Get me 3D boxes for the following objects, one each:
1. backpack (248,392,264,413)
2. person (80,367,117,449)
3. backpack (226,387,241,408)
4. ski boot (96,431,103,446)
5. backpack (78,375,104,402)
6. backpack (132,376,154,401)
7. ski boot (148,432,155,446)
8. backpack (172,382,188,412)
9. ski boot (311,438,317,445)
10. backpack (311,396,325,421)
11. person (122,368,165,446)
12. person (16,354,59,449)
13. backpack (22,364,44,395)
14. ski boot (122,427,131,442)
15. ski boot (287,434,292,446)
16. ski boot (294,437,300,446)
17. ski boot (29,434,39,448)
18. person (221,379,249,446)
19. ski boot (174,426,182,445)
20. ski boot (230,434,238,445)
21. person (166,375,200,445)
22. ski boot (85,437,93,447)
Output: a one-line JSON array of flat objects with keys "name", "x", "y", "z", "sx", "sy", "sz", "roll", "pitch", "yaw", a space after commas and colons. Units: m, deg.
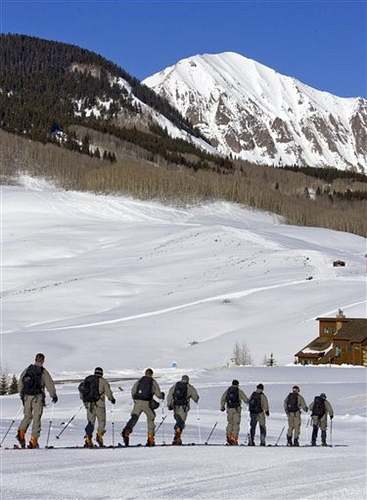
[{"name": "backpack", "x": 1.685, "y": 3.562, "z": 22.637, "sx": 0.350, "sy": 0.463, "sz": 0.261, "roll": -2, "pitch": 6, "yaw": 1}, {"name": "person", "x": -1.786, "y": 3.266, "z": 19.958, "sx": 0.623, "sy": 1.625, "sz": 0.824, "roll": -2, "pitch": 6, "yaw": -8}, {"name": "backpack", "x": 1.145, "y": 3.373, "z": 22.115, "sx": 0.370, "sy": 0.729, "sz": 0.350, "roll": -1, "pitch": -21, "yaw": 4}, {"name": "ski boot", "x": -1.726, "y": 3.862, "z": 19.889, "sx": 0.126, "sy": 0.296, "sz": 0.263, "roll": -2, "pitch": 6, "yaw": -7}, {"name": "backpack", "x": -1.910, "y": 2.854, "z": 20.002, "sx": 0.356, "sy": 0.655, "sz": 0.452, "roll": -7, "pitch": -13, "yaw": 42}, {"name": "backpack", "x": -0.849, "y": 2.903, "z": 20.357, "sx": 0.425, "sy": 0.495, "sz": 0.291, "roll": -2, "pitch": 6, "yaw": 0}, {"name": "ski boot", "x": -0.680, "y": 3.948, "z": 20.282, "sx": 0.127, "sy": 0.191, "sz": 0.459, "roll": -2, "pitch": 8, "yaw": -1}, {"name": "backpack", "x": -0.014, "y": 3.207, "z": 21.195, "sx": 0.369, "sy": 0.815, "sz": 0.377, "roll": 1, "pitch": -18, "yaw": 8}, {"name": "ski boot", "x": 3.202, "y": 4.679, "z": 23.750, "sx": 0.082, "sy": 0.213, "sz": 0.094, "roll": 0, "pitch": 2, "yaw": 12}, {"name": "backpack", "x": 3.278, "y": 3.856, "z": 23.641, "sx": 0.245, "sy": 0.545, "sz": 0.430, "roll": 1, "pitch": -4, "yaw": 12}, {"name": "person", "x": -0.856, "y": 3.315, "z": 20.329, "sx": 1.028, "sy": 1.688, "sz": 0.764, "roll": -4, "pitch": 6, "yaw": -25}, {"name": "person", "x": -2.985, "y": 3.012, "z": 19.510, "sx": 0.778, "sy": 1.959, "sz": 0.752, "roll": -2, "pitch": 5, "yaw": -12}, {"name": "backpack", "x": -3.061, "y": 2.659, "z": 19.574, "sx": 0.349, "sy": 0.682, "sz": 0.306, "roll": -4, "pitch": -17, "yaw": 28}, {"name": "ski boot", "x": -1.173, "y": 3.721, "z": 19.806, "sx": 0.078, "sy": 0.434, "sz": 0.137, "roll": 3, "pitch": -12, "yaw": 12}, {"name": "ski boot", "x": 2.530, "y": 4.541, "z": 23.087, "sx": 0.104, "sy": 0.231, "sz": 0.559, "roll": -1, "pitch": 8, "yaw": 6}, {"name": "ski boot", "x": 2.689, "y": 4.559, "z": 23.092, "sx": 0.105, "sy": 0.276, "sz": 0.123, "roll": -5, "pitch": -7, "yaw": 32}, {"name": "ski boot", "x": -3.014, "y": 3.853, "z": 19.502, "sx": 0.151, "sy": 0.146, "sz": 0.222, "roll": 16, "pitch": -12, "yaw": -19}, {"name": "person", "x": 1.171, "y": 3.805, "z": 22.182, "sx": 0.594, "sy": 1.844, "sz": 1.849, "roll": -1, "pitch": 7, "yaw": 3}, {"name": "ski boot", "x": -0.119, "y": 3.986, "z": 20.834, "sx": 0.154, "sy": 0.467, "sz": 0.227, "roll": 2, "pitch": -5, "yaw": -29}, {"name": "ski boot", "x": 1.115, "y": 4.270, "z": 21.658, "sx": 0.143, "sy": 0.205, "sz": 0.406, "roll": -1, "pitch": 8, "yaw": 4}, {"name": "person", "x": -0.005, "y": 3.547, "z": 21.211, "sx": 0.679, "sy": 1.726, "sz": 1.693, "roll": -1, "pitch": 7, "yaw": 0}, {"name": "ski boot", "x": -1.923, "y": 3.892, "z": 19.759, "sx": 0.149, "sy": 0.161, "sz": 0.343, "roll": -2, "pitch": 8, "yaw": -6}]
